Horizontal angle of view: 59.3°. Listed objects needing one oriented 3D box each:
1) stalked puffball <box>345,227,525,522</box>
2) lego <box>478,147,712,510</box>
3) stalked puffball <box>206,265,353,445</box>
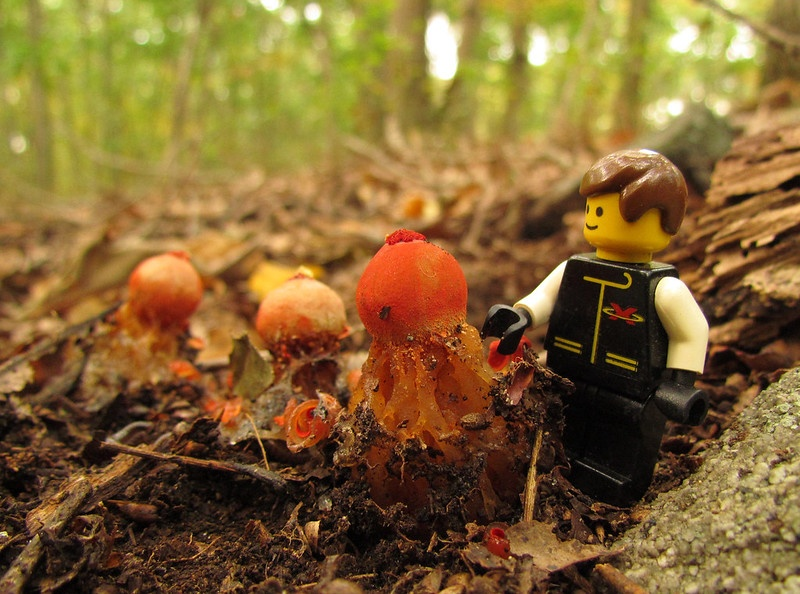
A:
[{"bbox_3d":[0.153,0.447,3.461,0.935,1.469,0.918,-5,6,-18],"label":"stalked puffball"},{"bbox_3d":[1.101,0.184,3.728,1.068,1.723,1.086,5,7,36],"label":"lego"},{"bbox_3d":[-0.672,0.290,3.628,0.568,0.678,0.766,11,23,19],"label":"stalked puffball"}]
